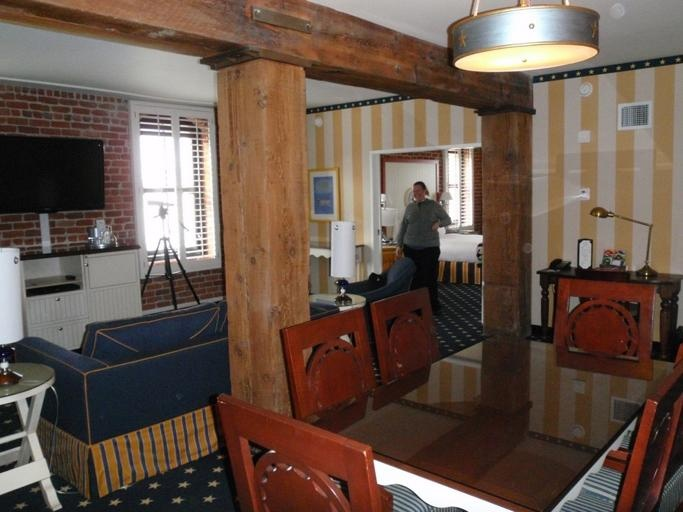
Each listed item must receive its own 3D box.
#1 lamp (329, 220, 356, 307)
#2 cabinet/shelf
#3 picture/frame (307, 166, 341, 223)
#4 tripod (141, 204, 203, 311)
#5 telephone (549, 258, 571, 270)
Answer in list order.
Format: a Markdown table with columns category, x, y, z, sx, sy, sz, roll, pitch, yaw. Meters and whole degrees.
| category | x | y | z | sx | sy | sz | roll | pitch | yaw |
| --- | --- | --- | --- | --- | --- | --- | --- | --- | --- |
| lamp | 0.018 | 0.050 | 4.352 | 0.201 | 0.682 | 0.538 | -3 | 9 | 1 |
| cabinet/shelf | -2.630 | 0.392 | 5.094 | 0.454 | 1.015 | 1.102 | 2 | 5 | 43 |
| picture/frame | -0.247 | -0.866 | 7.421 | 0.548 | 0.757 | 0.085 | 4 | 11 | 38 |
| tripod | -2.227 | 0.024 | 6.598 | 0.694 | 1.387 | 0.868 | -6 | 9 | -16 |
| telephone | 2.261 | 0.091 | 5.355 | 0.132 | 0.065 | 0.180 | 3 | 8 | 45 |
